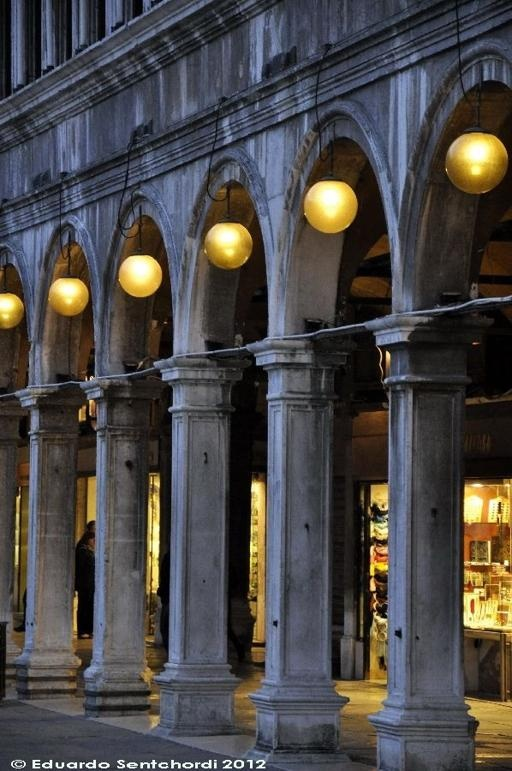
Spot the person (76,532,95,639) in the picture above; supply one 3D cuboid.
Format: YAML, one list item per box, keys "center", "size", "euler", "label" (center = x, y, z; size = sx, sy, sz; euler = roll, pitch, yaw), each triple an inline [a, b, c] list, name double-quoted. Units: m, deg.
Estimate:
- center: [-2.640, 3.006, 27.767]
  size: [0.276, 1.754, 1.185]
  euler: [1, -9, -6]
  label: "person"
